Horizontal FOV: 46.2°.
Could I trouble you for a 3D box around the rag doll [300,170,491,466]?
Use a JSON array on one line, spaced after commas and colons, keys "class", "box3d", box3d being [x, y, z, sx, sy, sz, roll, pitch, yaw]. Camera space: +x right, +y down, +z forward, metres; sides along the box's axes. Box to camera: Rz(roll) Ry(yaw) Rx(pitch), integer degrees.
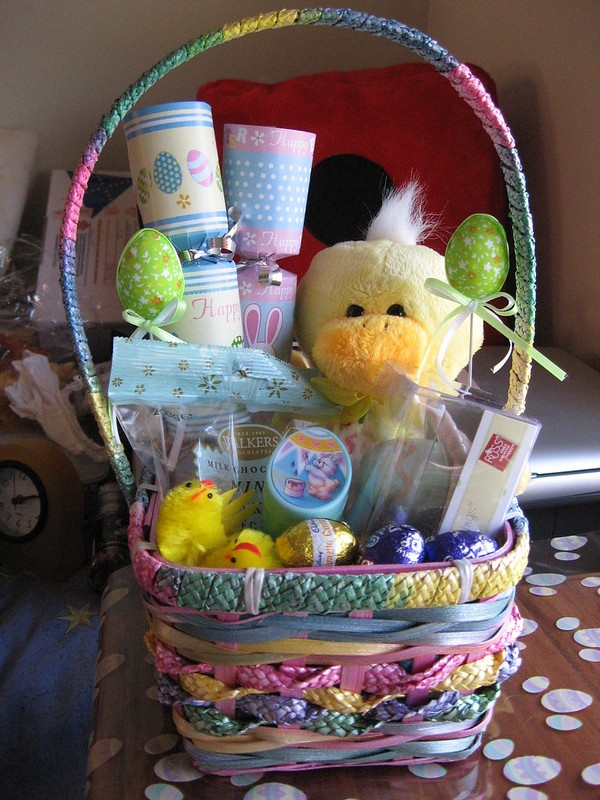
[{"class": "rag doll", "box3d": [0.084, -0.052, 0.653, 0.194, 0.242, 0.155, 2, 19, -4]}]
